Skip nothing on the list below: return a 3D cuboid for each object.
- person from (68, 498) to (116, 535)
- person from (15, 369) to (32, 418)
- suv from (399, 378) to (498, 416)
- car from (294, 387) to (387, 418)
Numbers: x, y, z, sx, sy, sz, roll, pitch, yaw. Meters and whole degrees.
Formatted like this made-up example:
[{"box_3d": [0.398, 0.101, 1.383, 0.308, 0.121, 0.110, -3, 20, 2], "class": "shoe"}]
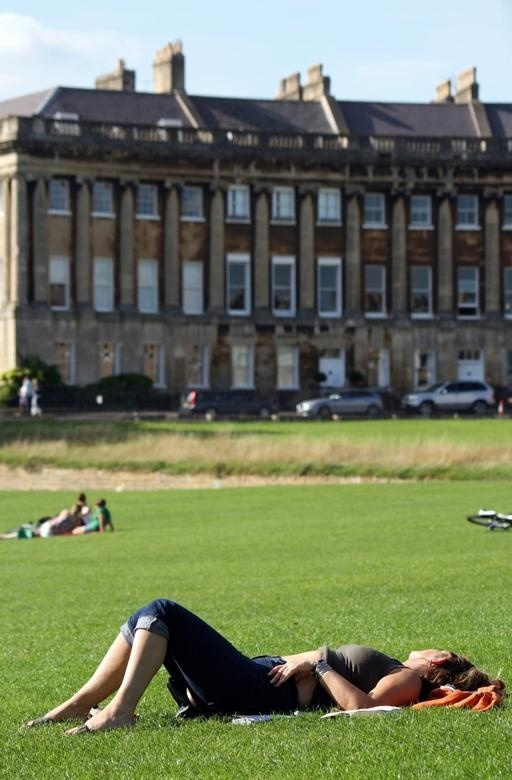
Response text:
[{"box_3d": [-2.726, 2.173, 34.574, 0.718, 0.568, 0.726, 0, 5, -12], "class": "person"}, {"box_3d": [-6.372, 0.131, 56.864, 0.364, 0.899, 1.641, 0, 5, -7], "class": "person"}, {"box_3d": [5.895, 0.389, 62.340, 2.183, 1.481, 1.313, 2, -2, -9], "class": "suv"}, {"box_3d": [2.576, 0.544, 60.023, 2.131, 1.144, 1.134, 2, -3, -29], "class": "car"}]
